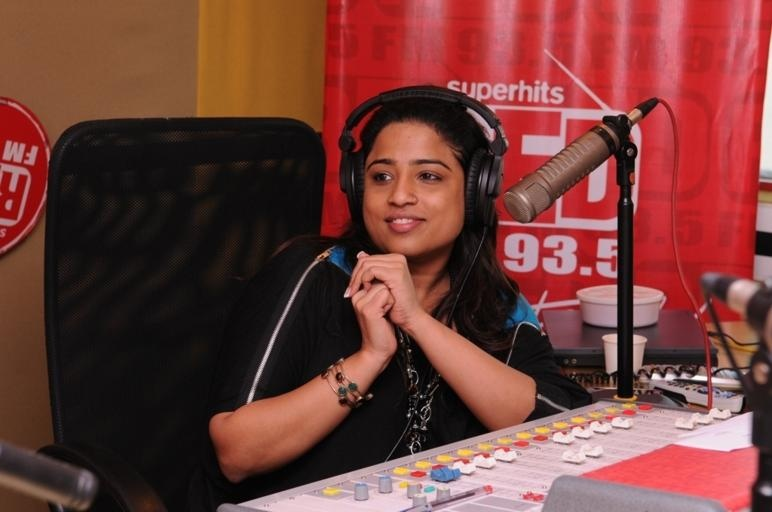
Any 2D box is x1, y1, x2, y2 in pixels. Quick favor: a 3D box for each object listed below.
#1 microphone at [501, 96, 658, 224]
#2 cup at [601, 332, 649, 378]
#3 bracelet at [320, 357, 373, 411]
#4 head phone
[{"bbox_3d":[0.440,-0.216,1.558,0.427,0.253,0.118,-7,6,-36],"label":"microphone"},{"bbox_3d":[0.690,0.282,2.078,0.162,0.126,0.150,0,5,0],"label":"cup"},{"bbox_3d":[-0.089,0.304,1.653,0.105,0.112,0.041,-39,2,-16],"label":"bracelet"},{"bbox_3d":[0.091,-0.249,1.898,0.456,0.407,0.160,1,-9,0],"label":"head phone"}]
